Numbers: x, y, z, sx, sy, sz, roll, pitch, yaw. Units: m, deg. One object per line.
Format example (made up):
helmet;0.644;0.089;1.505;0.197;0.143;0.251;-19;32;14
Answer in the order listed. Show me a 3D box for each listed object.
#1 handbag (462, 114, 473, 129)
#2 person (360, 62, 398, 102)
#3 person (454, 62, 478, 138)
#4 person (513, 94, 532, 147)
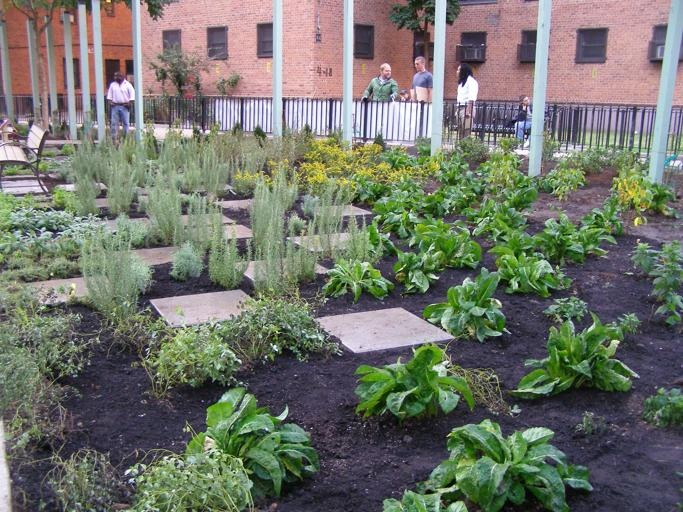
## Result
handbag;3.356;-3.566;13.572;0.320;0.340;0.090;1;1;29
person;1.189;-5.057;14.816;0.959;1.187;1.437;2;11;6
person;3.285;-4.078;13.489;0.489;1.899;0.832;3;11;12
person;4.965;-3.701;14.044;0.419;1.451;2.603;4;12;17
